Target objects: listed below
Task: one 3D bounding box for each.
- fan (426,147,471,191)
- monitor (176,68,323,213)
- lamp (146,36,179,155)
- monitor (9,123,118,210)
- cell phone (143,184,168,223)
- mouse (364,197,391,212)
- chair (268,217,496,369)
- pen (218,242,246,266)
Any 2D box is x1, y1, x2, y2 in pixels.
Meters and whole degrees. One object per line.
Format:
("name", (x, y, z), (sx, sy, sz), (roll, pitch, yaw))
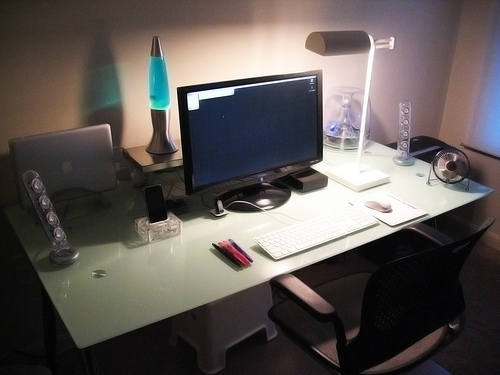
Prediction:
("fan", (1.030, -0.088, 1.995), (0.238, 0.289, 0.151), (2, 13, 24))
("monitor", (0.027, -0.220, 1.777), (0.728, 0.597, 0.246), (-14, 29, -24))
("lamp", (-0.437, -0.428, 1.818), (0.170, 0.524, 0.154), (-16, 29, -29))
("monitor", (-0.852, -0.135, 1.774), (0.468, 0.360, 0.330), (-14, 22, -27))
("cell phone", (-0.397, 0.063, 1.598), (0.080, 0.133, 0.084), (-10, 27, -18))
("mouse", (0.595, 0.072, 1.764), (0.054, 0.031, 0.089), (-17, 31, -37))
("chair", (0.470, 0.327, 1.430), (0.785, 0.507, 0.445), (-13, 29, -24))
("pen", (-0.075, 0.257, 1.473), (0.020, 0.016, 0.101), (-37, 58, -20))
